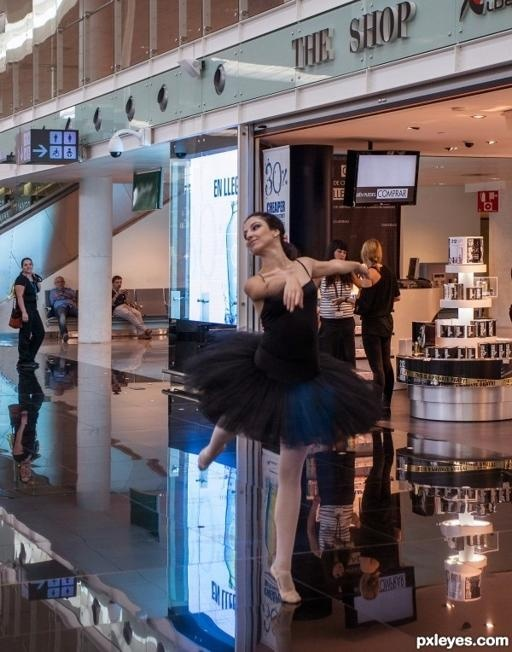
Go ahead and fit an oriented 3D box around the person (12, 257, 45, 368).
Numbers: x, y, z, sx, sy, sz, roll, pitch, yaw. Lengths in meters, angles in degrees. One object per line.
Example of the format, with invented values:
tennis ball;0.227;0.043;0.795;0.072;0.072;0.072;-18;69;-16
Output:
person;-3.626;-0.215;11.091;0.374;1.712;0.493;-7;-7;30

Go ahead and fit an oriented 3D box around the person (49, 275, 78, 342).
person;-4.497;-0.422;16.218;0.666;0.927;1.497;5;3;-17

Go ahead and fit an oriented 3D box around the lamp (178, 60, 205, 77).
lamp;-0.780;-3.039;8.284;0.278;0.162;0.368;5;3;-21

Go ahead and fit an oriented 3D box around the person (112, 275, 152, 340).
person;-3.000;-0.455;16.882;1.060;0.994;1.017;6;3;-9

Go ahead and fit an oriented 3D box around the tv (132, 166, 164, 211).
tv;-1.982;-2.445;12.716;0.767;0.686;0.085;4;0;41
